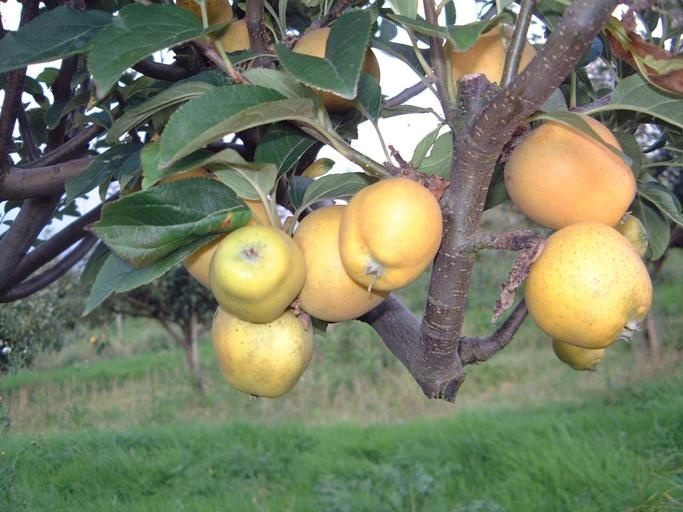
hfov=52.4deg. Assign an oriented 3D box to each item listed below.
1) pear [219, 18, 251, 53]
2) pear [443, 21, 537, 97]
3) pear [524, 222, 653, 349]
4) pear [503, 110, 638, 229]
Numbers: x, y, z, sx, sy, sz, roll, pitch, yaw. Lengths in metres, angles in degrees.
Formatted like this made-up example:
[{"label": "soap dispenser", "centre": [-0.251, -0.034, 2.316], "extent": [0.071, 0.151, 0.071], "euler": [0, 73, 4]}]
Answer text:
[{"label": "pear", "centre": [-0.384, -0.785, 2.494], "extent": [0.098, 0.122, 0.098], "euler": [-8, 11, -13]}, {"label": "pear", "centre": [0.462, -0.639, 2.265], "extent": [0.240, 0.297, 0.241], "euler": [23, -10, 13]}, {"label": "pear", "centre": [0.760, 0.089, 2.265], "extent": [0.360, 0.365, 0.367], "euler": [-31, -12, 11]}, {"label": "pear", "centre": [0.685, -0.259, 2.259], "extent": [0.350, 0.349, 0.438], "euler": [-2, 3, -21]}]
